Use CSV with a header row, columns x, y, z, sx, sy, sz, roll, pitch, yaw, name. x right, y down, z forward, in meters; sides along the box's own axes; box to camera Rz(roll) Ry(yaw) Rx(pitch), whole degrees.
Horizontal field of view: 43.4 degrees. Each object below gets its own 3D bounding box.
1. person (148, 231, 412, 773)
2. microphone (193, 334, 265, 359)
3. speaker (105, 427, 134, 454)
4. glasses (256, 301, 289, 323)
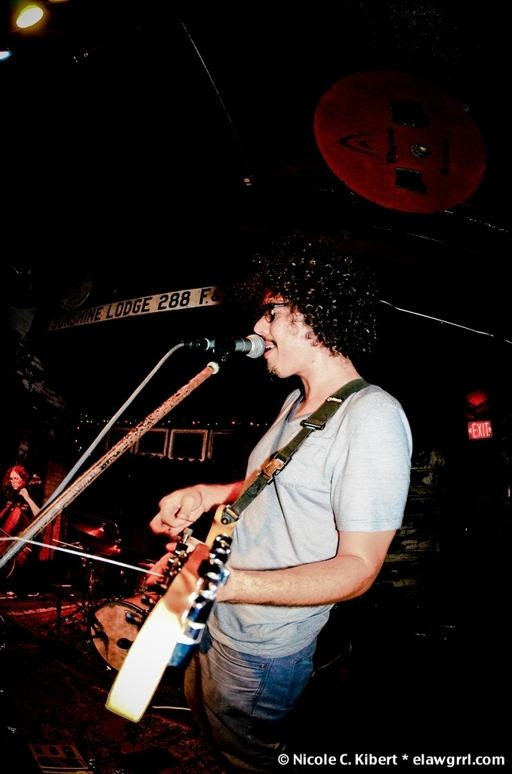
x,y,z,sx,sy,sz,roll,pitch,yaw,name
0.104,0.492,3.139,1.076,2.534,1.242,4,0,-14,person
-0.137,-0.209,3.437,0.457,0.127,0.133,4,1,-34,microphone
-2.269,0.838,10.304,0.181,0.385,0.848,4,0,-26,speaker
0.104,-0.391,3.469,0.127,0.049,0.115,7,-4,-26,glasses
